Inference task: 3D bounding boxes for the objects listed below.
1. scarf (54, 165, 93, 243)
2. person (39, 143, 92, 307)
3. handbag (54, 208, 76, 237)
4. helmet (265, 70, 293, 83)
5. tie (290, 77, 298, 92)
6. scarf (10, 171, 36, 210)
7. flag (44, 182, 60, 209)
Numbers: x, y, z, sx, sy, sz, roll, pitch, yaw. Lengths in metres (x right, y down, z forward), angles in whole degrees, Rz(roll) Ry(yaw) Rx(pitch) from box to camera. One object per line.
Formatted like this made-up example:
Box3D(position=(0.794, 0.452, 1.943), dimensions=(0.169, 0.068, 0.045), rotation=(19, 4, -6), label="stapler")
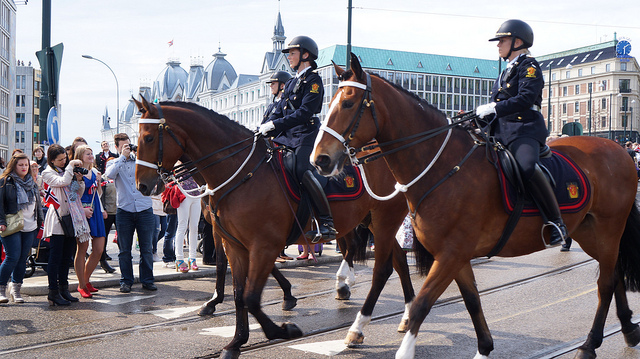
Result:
Box3D(position=(-5.432, 0.762, 17.135), dimensions=(0.517, 1.377, 0.377), rotation=(-5, 11, -23), label="scarf")
Box3D(position=(-5.728, 0.983, 17.038), dimensions=(0.959, 3.370, 1.325), rotation=(0, 10, 7), label="person")
Box3D(position=(-5.658, 0.946, 16.959), dimensions=(0.365, 0.600, 0.157), rotation=(-5, 11, -24), label="handbag")
Box3D(position=(-0.846, -2.259, 16.976), dimensions=(0.441, 0.203, 0.306), rotation=(-4, 0, -23), label="helmet")
Box3D(position=(-0.530, -1.895, 15.441), dimensions=(0.086, 0.326, 0.061), rotation=(13, -27, 51), label="tie")
Box3D(position=(-6.632, 0.254, 17.092), dimensions=(0.226, 0.718, 0.610), rotation=(-5, -3, 43), label="scarf")
Box3D(position=(-5.982, 0.381, 17.015), dimensions=(0.205, 0.481, 0.470), rotation=(-9, 12, -38), label="flag")
